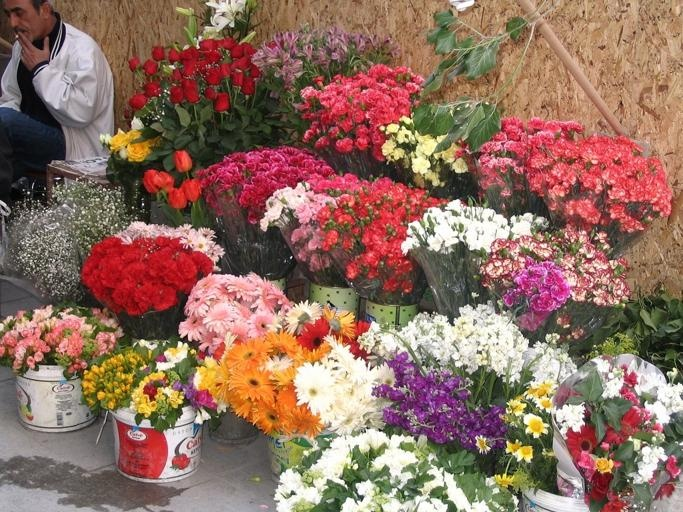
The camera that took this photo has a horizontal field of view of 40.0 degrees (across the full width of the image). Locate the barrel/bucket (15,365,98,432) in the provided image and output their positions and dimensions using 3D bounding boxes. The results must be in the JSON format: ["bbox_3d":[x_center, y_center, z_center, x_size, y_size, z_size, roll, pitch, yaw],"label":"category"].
[{"bbox_3d":[-1.382,0.638,4.592,0.332,0.382,0.329,1,7,0],"label":"barrel/bucket"}]

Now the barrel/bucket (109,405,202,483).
[{"bbox_3d":[-0.837,0.820,4.191,0.317,0.278,0.345,1,6,0],"label":"barrel/bucket"}]
